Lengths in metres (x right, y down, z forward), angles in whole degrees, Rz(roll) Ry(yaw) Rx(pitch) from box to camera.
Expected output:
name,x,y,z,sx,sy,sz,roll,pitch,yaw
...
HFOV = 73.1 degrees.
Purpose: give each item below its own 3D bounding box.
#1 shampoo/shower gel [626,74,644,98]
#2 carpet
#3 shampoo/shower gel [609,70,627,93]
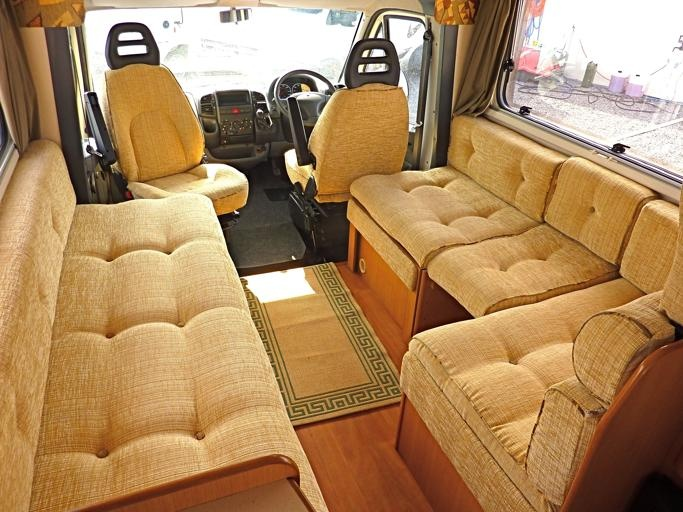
name,x,y,z,sx,sy,sz,roll,pitch,yaw
shampoo/shower gel,1.420,-0.829,2.230,0.054,0.069,0.101,23,52,27
carpet,-0.089,0.505,2.455,0.600,0.015,1.016,-10,37,-17
shampoo/shower gel,1.384,-0.871,2.314,0.081,0.087,0.080,-14,43,-4
